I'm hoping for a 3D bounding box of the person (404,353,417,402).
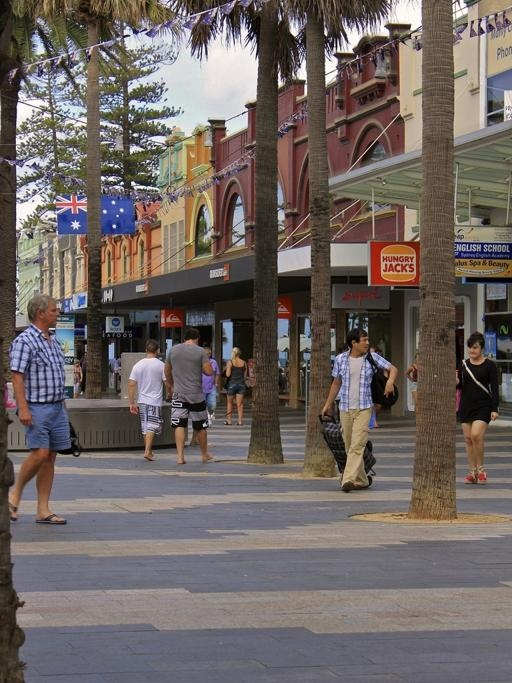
[{"bbox_3d":[2.770,0.600,23.690,0.258,0.980,0.679,5,-4,0],"label":"person"}]

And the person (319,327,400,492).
[{"bbox_3d":[0.947,0.640,11.957,0.477,1.491,1.091,-2,1,-19],"label":"person"}]

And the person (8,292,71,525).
[{"bbox_3d":[-1.532,0.485,9.145,0.305,1.591,0.667,0,1,25],"label":"person"}]

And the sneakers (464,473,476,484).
[{"bbox_3d":[2.129,1.371,13.058,0.113,0.123,0.067,1,-4,29],"label":"sneakers"}]

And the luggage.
[{"bbox_3d":[0.843,0.999,12.540,0.487,0.682,0.365,14,41,45],"label":"luggage"}]

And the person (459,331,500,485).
[{"bbox_3d":[2.218,0.751,13.192,0.396,1.285,0.690,-1,1,9],"label":"person"}]

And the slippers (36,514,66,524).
[{"bbox_3d":[-1.450,1.241,9.213,0.165,0.066,0.086,-1,-2,5],"label":"slippers"}]

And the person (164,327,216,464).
[{"bbox_3d":[-0.807,0.649,15.690,0.540,1.608,1.383,-1,1,-3],"label":"person"}]
